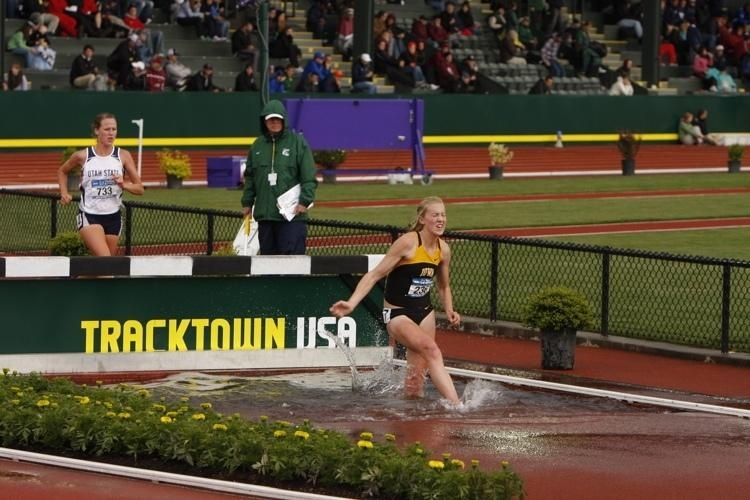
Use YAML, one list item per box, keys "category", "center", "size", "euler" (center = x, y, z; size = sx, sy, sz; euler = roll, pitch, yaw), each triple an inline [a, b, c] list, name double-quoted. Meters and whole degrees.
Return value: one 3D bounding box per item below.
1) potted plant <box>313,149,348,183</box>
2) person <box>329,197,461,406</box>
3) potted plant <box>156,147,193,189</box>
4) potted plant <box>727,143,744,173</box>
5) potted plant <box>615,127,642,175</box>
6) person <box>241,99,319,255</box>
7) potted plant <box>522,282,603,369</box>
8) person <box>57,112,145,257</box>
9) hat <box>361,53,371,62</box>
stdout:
- category: "potted plant"
  center: [-1.198, -2.341, 37.872]
  size: [0.903, 1.069, 0.986]
  euler: [1, 1, -12]
- category: "person"
  center: [0.418, 0.535, 15.902]
  size: [1.251, 2.341, 0.922]
  euler: [2, 10, 3]
- category: "potted plant"
  center: [-5.198, -2.136, 34.832]
  size: [0.772, 1.041, 1.052]
  euler: [0, 10, -9]
- category: "potted plant"
  center: [11.958, -3.014, 44.250]
  size: [0.413, 0.882, 0.744]
  euler: [4, 10, 11]
- category: "potted plant"
  center: [8.179, -3.122, 42.921]
  size: [0.643, 1.373, 1.803]
  euler: [4, 10, 10]
- category: "person"
  center: [-1.304, -0.974, 18.173]
  size: [1.031, 2.058, 0.650]
  euler: [3, 10, 8]
- category: "potted plant"
  center: [2.470, 1.001, 17.739]
  size: [1.039, 1.061, 1.062]
  euler: [1, -1, -30]
- category: "person"
  center: [-3.683, -0.872, 18.329]
  size: [0.776, 1.956, 1.385]
  euler: [-5, 12, -34]
- category: "hat"
  center: [-0.270, -6.244, 43.775]
  size: [0.246, 0.181, 0.364]
  euler: [-3, 10, -21]
